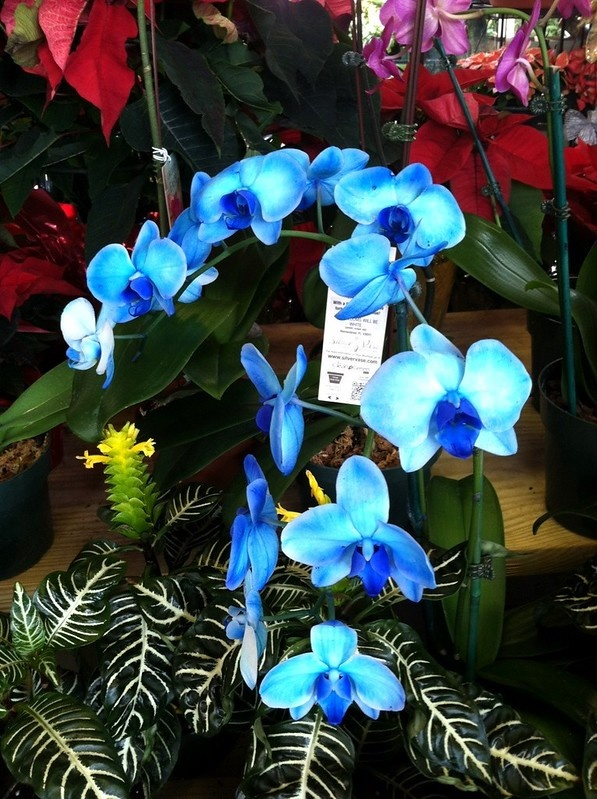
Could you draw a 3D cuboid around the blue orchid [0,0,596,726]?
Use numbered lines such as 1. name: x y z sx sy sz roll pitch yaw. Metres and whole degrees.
1. blue orchid: 0.021 -0.030 0.714 0.591 0.756 0.210 2 -7 10
